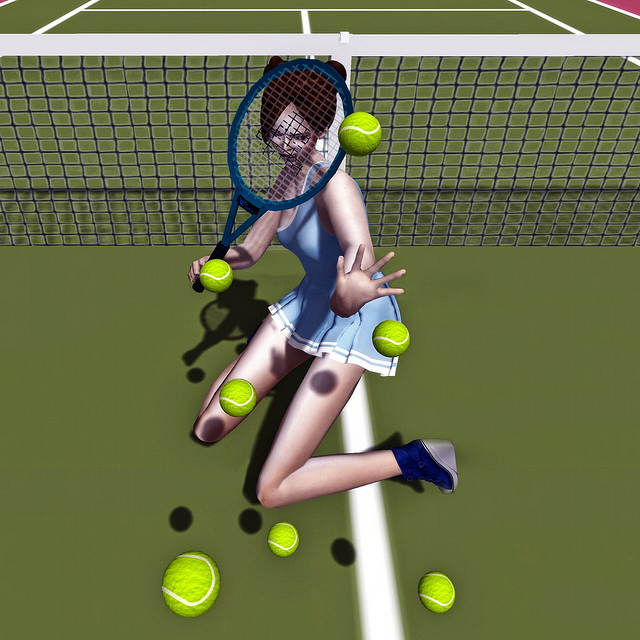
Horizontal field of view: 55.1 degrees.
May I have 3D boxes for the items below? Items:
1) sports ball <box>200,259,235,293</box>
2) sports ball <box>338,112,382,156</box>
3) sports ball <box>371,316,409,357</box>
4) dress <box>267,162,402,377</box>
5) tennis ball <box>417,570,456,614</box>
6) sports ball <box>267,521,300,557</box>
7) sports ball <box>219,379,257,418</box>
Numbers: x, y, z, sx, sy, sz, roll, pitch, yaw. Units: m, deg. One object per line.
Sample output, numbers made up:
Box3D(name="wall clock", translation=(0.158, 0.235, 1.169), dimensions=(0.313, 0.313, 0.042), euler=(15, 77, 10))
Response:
Box3D(name="sports ball", translation=(-0.448, -0.194, 2.736), dimensions=(0.163, 0.137, 0.150), euler=(8, 10, -1))
Box3D(name="sports ball", translation=(0.150, -0.697, 2.351), dimensions=(0.168, 0.149, 0.144), euler=(9, 56, -3))
Box3D(name="sports ball", translation=(0.267, 0.066, 2.406), dimensions=(0.153, 0.139, 0.128), euler=(7, 77, -7))
Box3D(name="dress", translation=(0.061, -0.297, 2.851), dimensions=(0.711, 1.106, 0.557), euler=(-5, 13, -23))
Box3D(name="tennis ball", translation=(0.520, 1.183, 2.683), dimensions=(0.176, 0.125, 0.174), euler=(3, 50, -4))
Box3D(name="sports ball", translation=(-0.164, 0.981, 2.775), dimensions=(0.160, 0.082, 0.135), euler=(-12, 82, 4))
Box3D(name="sports ball", translation=(-0.360, 0.351, 2.694), dimensions=(0.156, 0.162, 0.154), euler=(3, 51, -4))
